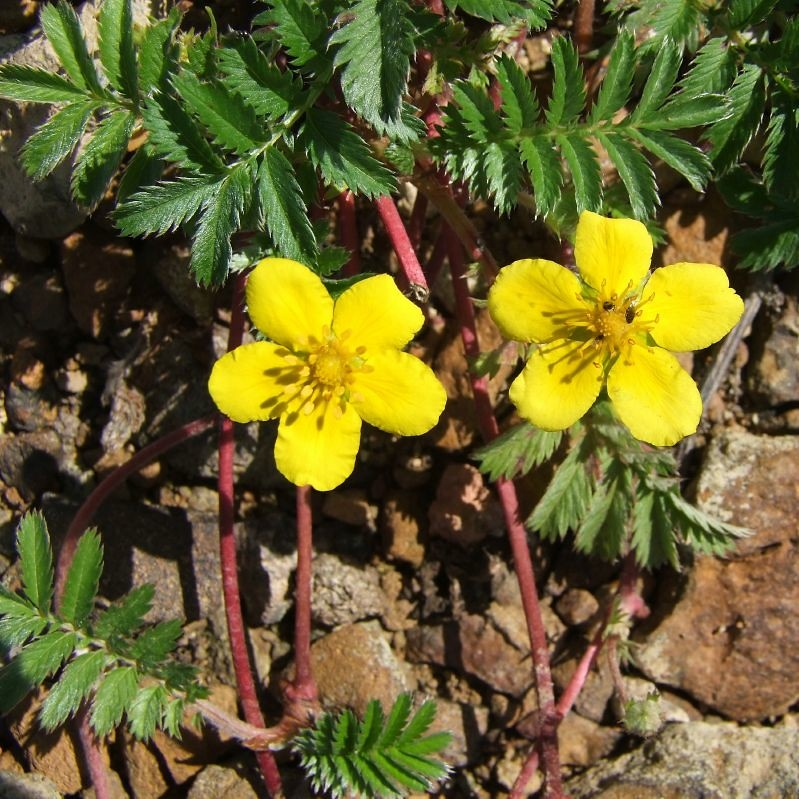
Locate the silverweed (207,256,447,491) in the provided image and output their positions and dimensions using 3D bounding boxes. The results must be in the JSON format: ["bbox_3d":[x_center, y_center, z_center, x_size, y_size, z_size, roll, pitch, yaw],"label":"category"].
[{"bbox_3d":[-0.230,-0.134,3.218,0.860,0.228,0.841,-37,95,10],"label":"silverweed"}]

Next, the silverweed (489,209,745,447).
[{"bbox_3d":[0.801,-0.311,3.016,1.027,0.210,0.852,10,84,-11],"label":"silverweed"}]
